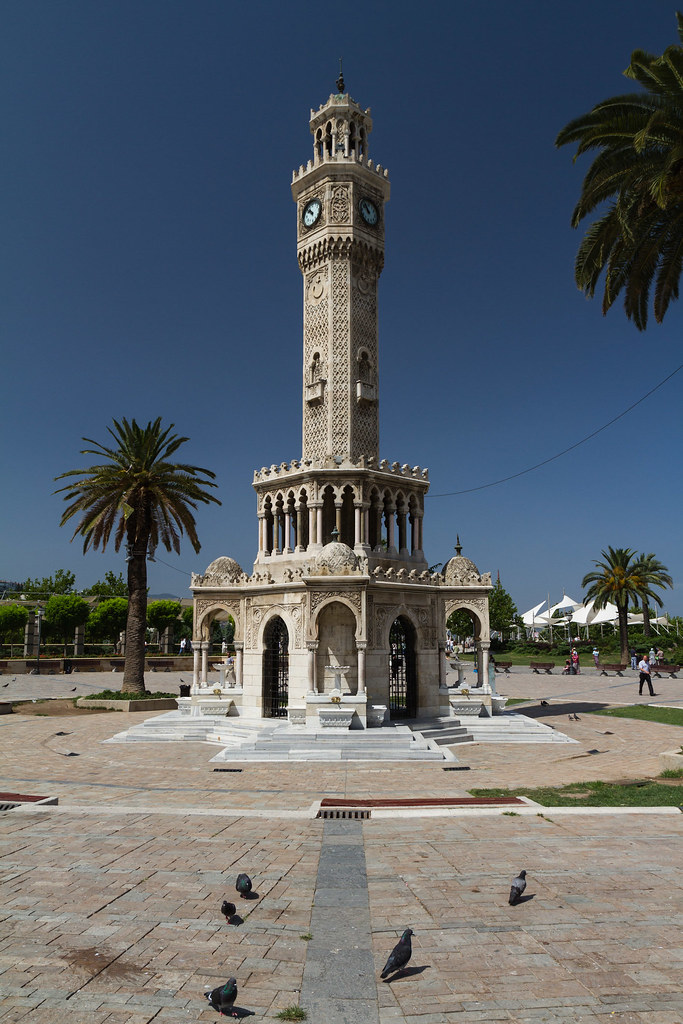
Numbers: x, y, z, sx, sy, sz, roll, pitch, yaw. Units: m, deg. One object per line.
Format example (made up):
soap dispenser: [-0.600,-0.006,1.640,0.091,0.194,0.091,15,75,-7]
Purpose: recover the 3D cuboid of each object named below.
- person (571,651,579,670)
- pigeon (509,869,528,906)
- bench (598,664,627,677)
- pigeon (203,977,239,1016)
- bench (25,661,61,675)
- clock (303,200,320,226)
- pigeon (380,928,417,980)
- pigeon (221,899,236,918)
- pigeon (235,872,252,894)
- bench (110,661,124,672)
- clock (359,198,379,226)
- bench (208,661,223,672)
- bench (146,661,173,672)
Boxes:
person: [14.298,9.264,48.326,0.312,1.292,1.350,-3,-11,10]
pigeon: [1.765,3.836,7.990,0.154,0.293,0.445,-3,-12,12]
bench: [16.205,9.533,47.352,1.385,0.712,3.234,-4,-12,17]
pigeon: [-0.830,3.460,5.548,0.115,0.236,0.370,6,-21,-31]
bench: [-20.455,10.639,54.093,2.451,0.926,1.565,-8,-14,32]
clock: [-1.070,-10.765,27.805,0.083,1.096,1.214,6,-13,-32]
pigeon: [0.433,3.562,6.275,0.253,0.328,0.519,-1,-11,2]
pigeon: [-1.057,3.751,7.340,0.116,0.207,0.366,0,-11,-6]
pigeon: [-0.986,3.827,8.039,0.197,0.260,0.274,0,-23,0]
bench: [-16.043,10.998,55.945,1.117,1.123,0.615,1,-15,-14]
clock: [0.983,-10.783,27.821,0.065,1.120,1.236,-9,-14,37]
bench: [-8.831,10.795,55.104,0.858,0.768,6.075,1,-12,-10]
bench: [-13.282,11.182,56.997,1.644,0.748,2.569,-1,-12,-1]
